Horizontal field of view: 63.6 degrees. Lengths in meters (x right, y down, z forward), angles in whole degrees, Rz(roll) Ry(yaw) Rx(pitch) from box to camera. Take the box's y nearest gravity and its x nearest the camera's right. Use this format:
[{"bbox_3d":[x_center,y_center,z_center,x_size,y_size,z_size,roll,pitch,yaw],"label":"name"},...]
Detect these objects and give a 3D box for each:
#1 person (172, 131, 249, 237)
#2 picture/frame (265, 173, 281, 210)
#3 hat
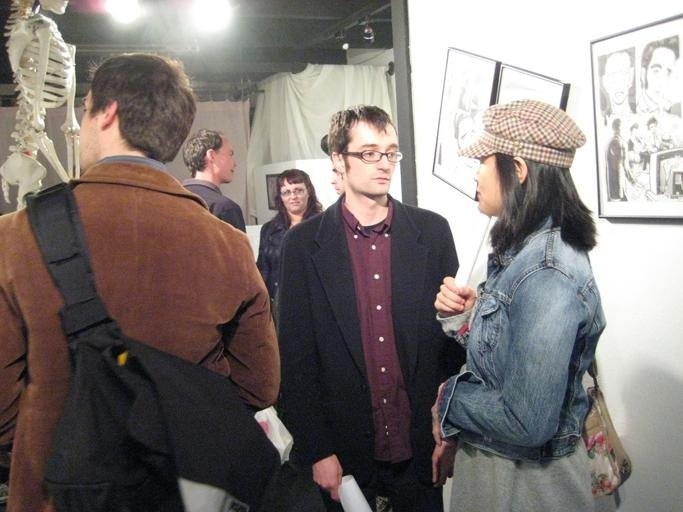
[{"bbox_3d":[-0.976,-0.538,4.063,0.410,0.829,0.784,-5,15,-28],"label":"person"},{"bbox_3d":[-0.501,-0.509,4.370,0.254,0.277,0.021,0,3,36],"label":"picture/frame"},{"bbox_3d":[0.619,-0.425,1.901,0.392,0.203,0.293,9,18,23],"label":"hat"}]
